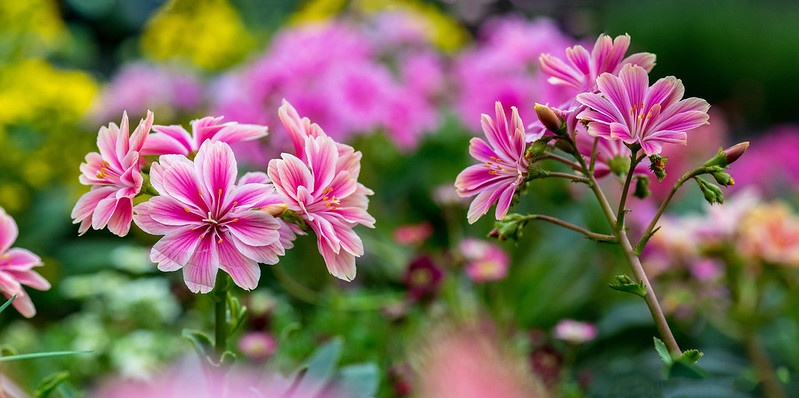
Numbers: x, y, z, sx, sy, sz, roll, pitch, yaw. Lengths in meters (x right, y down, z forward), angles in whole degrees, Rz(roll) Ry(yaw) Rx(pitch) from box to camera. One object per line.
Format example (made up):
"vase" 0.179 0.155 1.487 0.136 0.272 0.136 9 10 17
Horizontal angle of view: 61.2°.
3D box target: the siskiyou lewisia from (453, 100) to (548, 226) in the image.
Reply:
"siskiyou lewisia" 0.454 -0.161 2.519 0.432 0.406 0.183 21 73 6

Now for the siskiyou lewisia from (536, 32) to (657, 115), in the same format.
"siskiyou lewisia" 0.709 -0.497 2.505 0.342 0.162 0.339 -39 30 -17

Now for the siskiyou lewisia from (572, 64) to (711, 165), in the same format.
"siskiyou lewisia" 0.885 -0.293 2.498 0.439 0.428 0.196 31 75 -10

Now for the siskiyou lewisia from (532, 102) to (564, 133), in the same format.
"siskiyou lewisia" 0.552 -0.291 2.454 0.119 0.095 0.068 4 35 8
